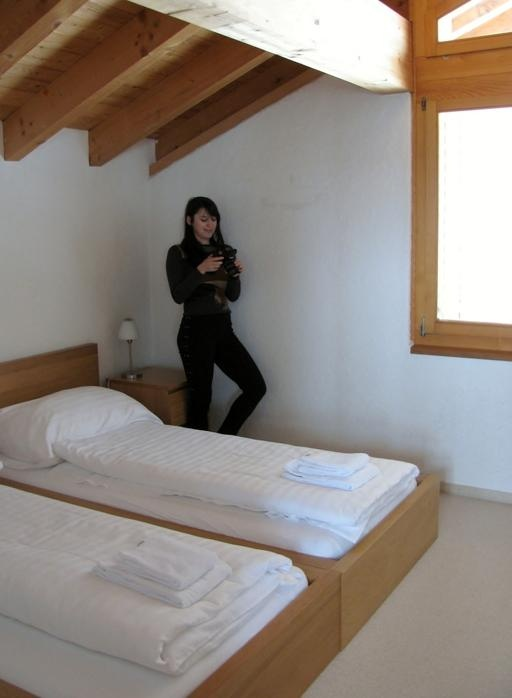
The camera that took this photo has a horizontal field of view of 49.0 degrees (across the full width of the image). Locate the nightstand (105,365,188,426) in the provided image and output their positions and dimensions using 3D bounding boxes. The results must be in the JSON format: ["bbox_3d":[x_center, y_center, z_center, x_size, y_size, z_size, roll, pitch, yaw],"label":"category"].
[{"bbox_3d":[-0.657,0.266,3.720,0.372,0.239,0.454,5,14,24],"label":"nightstand"}]

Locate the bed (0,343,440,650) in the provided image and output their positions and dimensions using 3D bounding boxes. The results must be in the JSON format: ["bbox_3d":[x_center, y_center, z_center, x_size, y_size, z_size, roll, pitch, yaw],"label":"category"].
[{"bbox_3d":[-0.240,0.574,2.424,1.633,0.638,1.167,9,19,28],"label":"bed"}]

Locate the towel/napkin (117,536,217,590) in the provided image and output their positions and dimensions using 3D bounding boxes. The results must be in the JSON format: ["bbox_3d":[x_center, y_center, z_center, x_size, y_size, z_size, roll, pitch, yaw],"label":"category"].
[{"bbox_3d":[-0.226,0.542,1.416,0.113,0.031,0.113,10,8,19],"label":"towel/napkin"}]

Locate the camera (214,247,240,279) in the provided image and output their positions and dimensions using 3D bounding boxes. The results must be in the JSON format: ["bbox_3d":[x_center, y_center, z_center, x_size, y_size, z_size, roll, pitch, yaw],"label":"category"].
[{"bbox_3d":[-0.164,-0.538,3.440,0.120,0.194,0.087,-29,7,-15],"label":"camera"}]

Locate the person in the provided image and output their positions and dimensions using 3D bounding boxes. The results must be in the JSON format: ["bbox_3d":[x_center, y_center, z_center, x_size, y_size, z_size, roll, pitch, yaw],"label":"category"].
[{"bbox_3d":[-0.244,-0.056,3.648,0.617,1.801,0.563,-3,12,-3],"label":"person"}]

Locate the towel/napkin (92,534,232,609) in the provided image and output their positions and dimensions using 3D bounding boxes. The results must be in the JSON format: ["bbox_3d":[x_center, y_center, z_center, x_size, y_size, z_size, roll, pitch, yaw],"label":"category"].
[{"bbox_3d":[-0.229,0.554,1.397,0.162,0.044,0.163,11,10,25],"label":"towel/napkin"}]
